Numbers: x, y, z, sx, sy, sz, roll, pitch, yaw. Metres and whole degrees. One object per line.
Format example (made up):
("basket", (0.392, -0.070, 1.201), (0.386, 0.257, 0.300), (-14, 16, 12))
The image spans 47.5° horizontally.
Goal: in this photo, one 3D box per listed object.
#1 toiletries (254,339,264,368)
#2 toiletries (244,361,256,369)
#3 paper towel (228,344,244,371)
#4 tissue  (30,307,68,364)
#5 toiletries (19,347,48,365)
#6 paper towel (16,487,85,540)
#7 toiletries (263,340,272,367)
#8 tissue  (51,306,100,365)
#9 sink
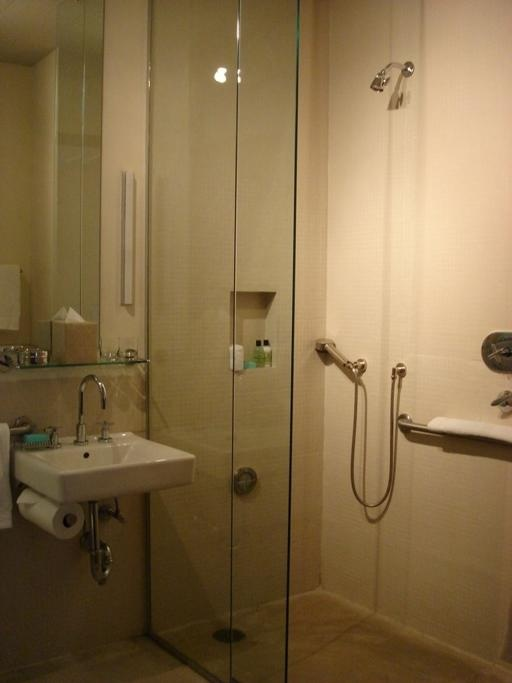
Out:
("toiletries", (0.011, 0.035, 1.711), (0.033, 0.077, 0.032), (2, 6, 18))
("toiletries", (-0.017, 0.071, 1.723), (0.020, 0.019, 0.023), (-3, 6, -21))
("paper towel", (-0.059, 0.050, 1.775), (0.018, 0.083, 0.086), (-2, 7, -24))
("tissue ", (-0.722, -0.020, 2.040), (0.102, 0.261, 0.152), (1, -2, -34))
("toiletries", (-0.742, 0.047, 1.937), (0.093, 0.053, 0.036), (-4, 7, -27))
("paper towel", (-0.623, 0.510, 1.728), (0.235, 0.112, 0.099), (4, 8, 31))
("toiletries", (0.032, 0.034, 1.698), (0.018, 0.075, 0.045), (-2, 6, -22))
("tissue ", (-0.635, -0.092, 2.018), (0.121, 0.307, 0.242), (-3, 6, -33))
("sink", (-0.440, 0.388, 1.734), (0.312, 0.121, 0.304), (-2, 7, -41))
